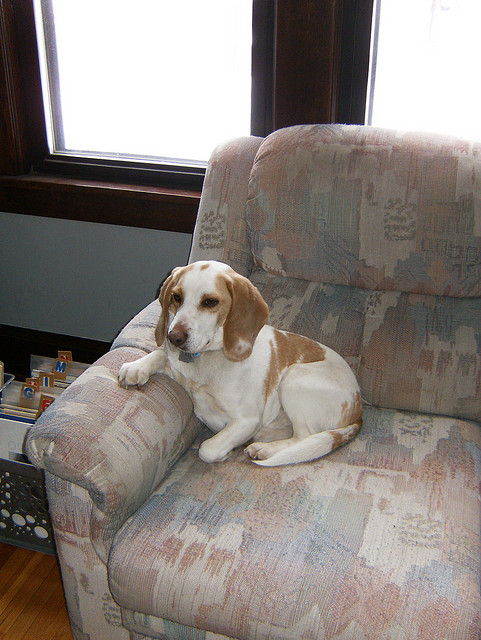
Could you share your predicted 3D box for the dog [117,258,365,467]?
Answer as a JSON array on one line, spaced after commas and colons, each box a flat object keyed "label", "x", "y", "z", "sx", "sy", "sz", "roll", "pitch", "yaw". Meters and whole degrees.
[{"label": "dog", "x": 0.054, "y": 0.048, "z": 1.267, "sx": 0.562, "sy": 0.425, "sz": 0.414, "roll": -9, "pitch": 19, "yaw": -32}]
